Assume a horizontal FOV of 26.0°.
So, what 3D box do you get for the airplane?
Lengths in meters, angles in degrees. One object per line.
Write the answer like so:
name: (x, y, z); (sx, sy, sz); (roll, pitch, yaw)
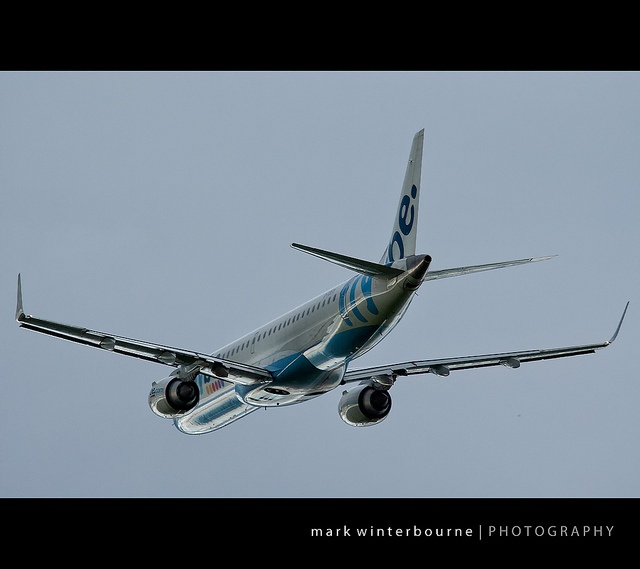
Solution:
airplane: (-0.348, -1.628, 33.692); (9.861, 3.661, 9.639); (9, -17, -36)
